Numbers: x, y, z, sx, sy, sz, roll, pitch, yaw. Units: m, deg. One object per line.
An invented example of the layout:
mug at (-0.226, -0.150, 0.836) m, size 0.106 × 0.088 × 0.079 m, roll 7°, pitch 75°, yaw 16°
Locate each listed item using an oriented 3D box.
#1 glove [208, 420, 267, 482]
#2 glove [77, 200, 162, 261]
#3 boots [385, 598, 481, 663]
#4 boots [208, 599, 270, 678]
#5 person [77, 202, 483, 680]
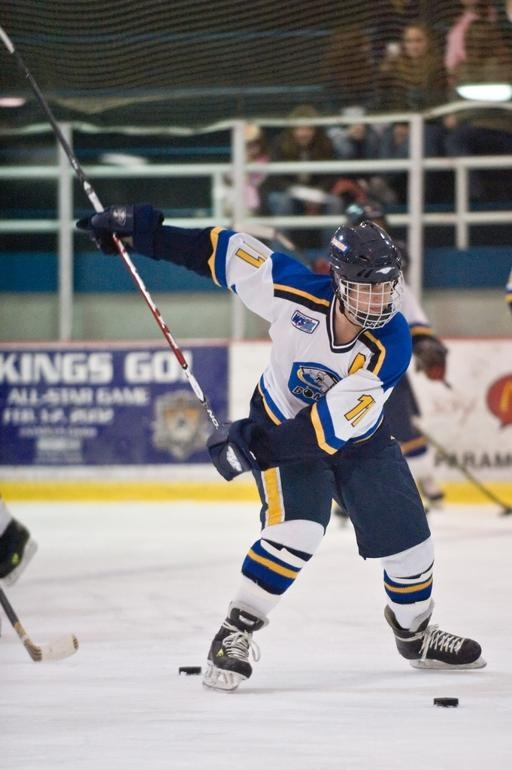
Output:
glove at (-0.053, 0.150, 2.314) m, size 0.120 × 0.147 × 0.168 m, roll 0°, pitch 5°, yaw -2°
glove at (-0.322, -0.380, 2.509) m, size 0.194 × 0.074 × 0.129 m, roll 16°, pitch -32°, yaw -36°
boots at (0.423, 0.608, 2.427) m, size 0.230 × 0.123 × 0.091 m, roll -13°, pitch -5°, yaw 38°
boots at (-0.047, 0.569, 2.239) m, size 0.121 × 0.131 × 0.186 m, roll 1°, pitch 5°, yaw 3°
person at (0.098, 0.135, 2.351) m, size 0.863 × 1.100 × 0.489 m, roll 1°, pitch 6°, yaw 5°
